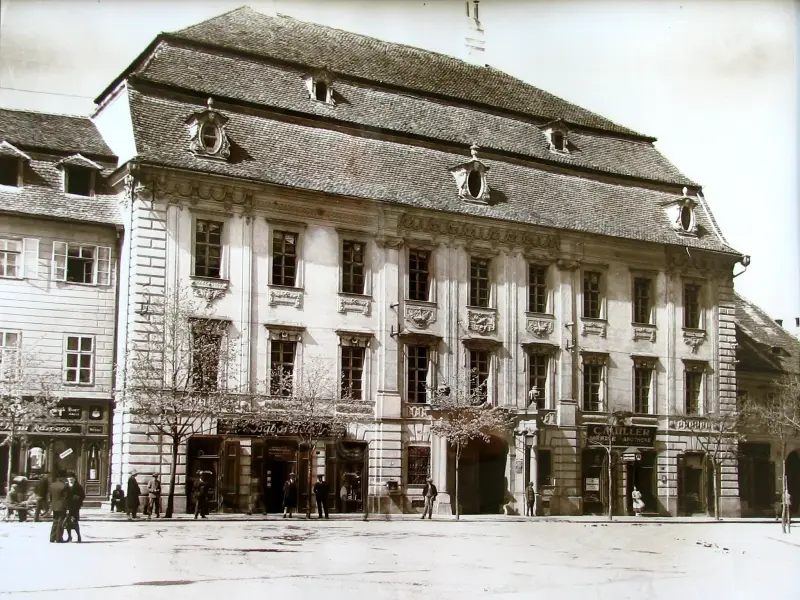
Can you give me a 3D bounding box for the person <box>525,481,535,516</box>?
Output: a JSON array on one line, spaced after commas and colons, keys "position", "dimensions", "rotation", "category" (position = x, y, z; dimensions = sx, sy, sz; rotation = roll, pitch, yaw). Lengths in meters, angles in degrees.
[{"position": [5.517, 8.350, 55.996], "dimensions": [0.366, 1.465, 0.621], "rotation": [0, -11, 6], "category": "person"}]
